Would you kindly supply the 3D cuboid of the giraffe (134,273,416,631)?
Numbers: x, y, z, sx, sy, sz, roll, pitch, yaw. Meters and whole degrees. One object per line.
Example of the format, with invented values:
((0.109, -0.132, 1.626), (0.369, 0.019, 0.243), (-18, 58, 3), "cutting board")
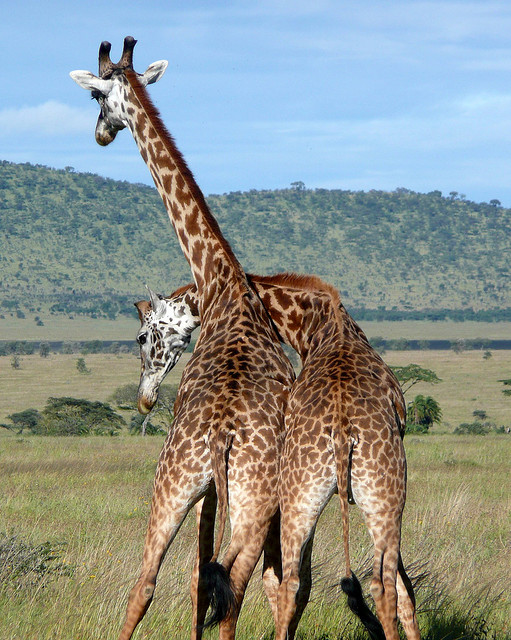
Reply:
((-0.005, 1.073, 9.056), (2.103, 2.923, 4.241), (0, 2, -2), "giraffe")
